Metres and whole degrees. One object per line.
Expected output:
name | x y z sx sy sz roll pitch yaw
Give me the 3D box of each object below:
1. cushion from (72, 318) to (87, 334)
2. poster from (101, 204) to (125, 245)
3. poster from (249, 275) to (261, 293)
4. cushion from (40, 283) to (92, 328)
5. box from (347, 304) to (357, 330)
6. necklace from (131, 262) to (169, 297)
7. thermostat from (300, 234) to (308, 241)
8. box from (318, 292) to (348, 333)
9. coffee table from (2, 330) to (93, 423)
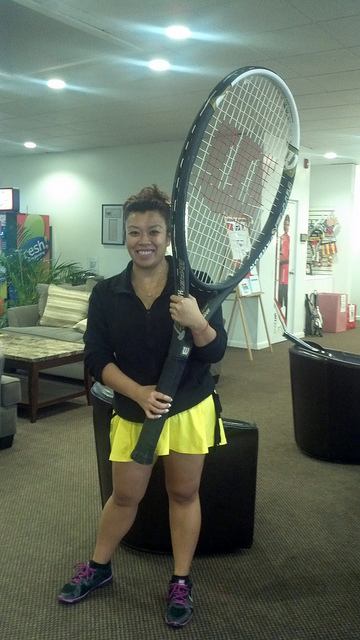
cushion | -1.052 0.069 4.554 0.120 0.148 0.056 -1 -14 35
poster | -1.094 -1.588 7.206 0.226 0.721 0.757 1 -2 -29
poster | 1.031 -0.501 6.066 0.075 0.253 0.240 -1 -2 37
cushion | -1.371 -0.167 5.348 0.668 0.765 0.223 6 -25 10
box | 3.301 -0.058 8.508 0.135 0.464 0.417 1 5 20
necklace | -0.084 -0.103 1.217 0.091 0.082 0.056 0 -1 7
thermostat | 2.098 -1.403 7.486 0.098 0.116 0.104 2 5 -14
box | 2.806 -0.130 8.145 0.492 1.081 0.517 5 9 34
coffee table | -1.106 0.494 3.660 0.746 0.605 0.694 12 13 36
